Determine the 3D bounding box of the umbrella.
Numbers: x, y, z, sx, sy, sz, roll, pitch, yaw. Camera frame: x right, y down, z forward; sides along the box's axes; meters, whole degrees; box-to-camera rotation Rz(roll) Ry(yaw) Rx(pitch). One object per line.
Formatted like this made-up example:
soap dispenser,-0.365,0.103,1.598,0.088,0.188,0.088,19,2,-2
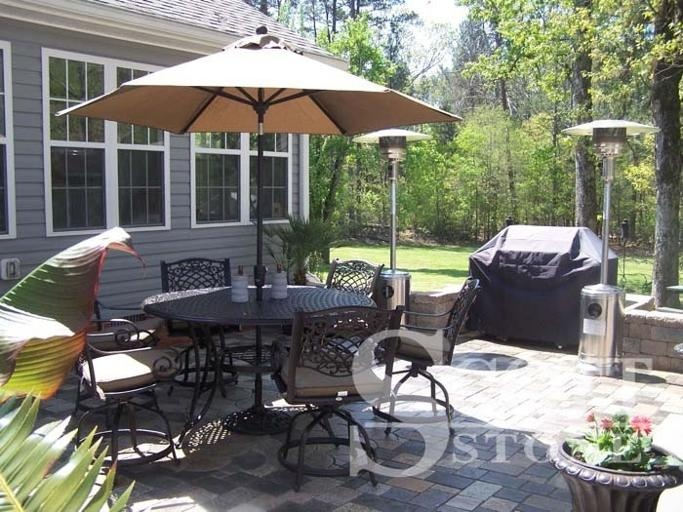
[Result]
umbrella,-0.690,-0.525,4.779,2.759,2.027,2.749,-1,0,-10

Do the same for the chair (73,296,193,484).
chair,-1.507,0.864,4.152,0.727,0.945,1.596,-3,7,-25

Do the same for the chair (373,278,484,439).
chair,0.653,0.741,4.640,0.780,1.136,0.710,4,1,10

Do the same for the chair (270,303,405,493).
chair,-0.064,0.851,3.788,0.833,1.155,0.887,3,3,8

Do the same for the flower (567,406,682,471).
flower,1.311,0.857,2.692,0.347,0.135,0.341,-5,8,-13
